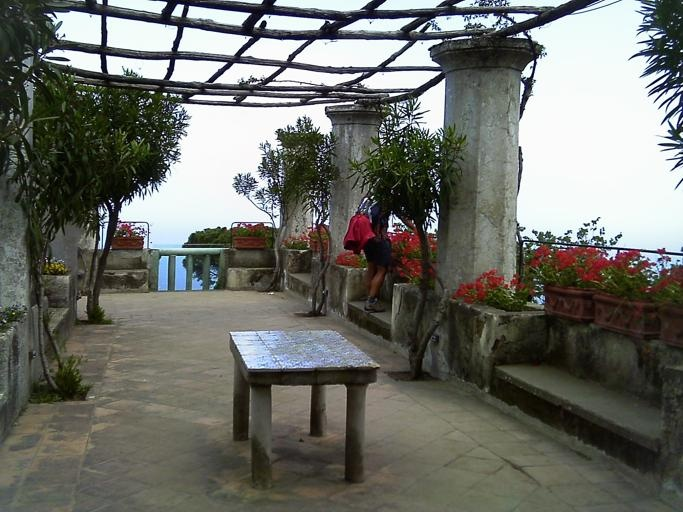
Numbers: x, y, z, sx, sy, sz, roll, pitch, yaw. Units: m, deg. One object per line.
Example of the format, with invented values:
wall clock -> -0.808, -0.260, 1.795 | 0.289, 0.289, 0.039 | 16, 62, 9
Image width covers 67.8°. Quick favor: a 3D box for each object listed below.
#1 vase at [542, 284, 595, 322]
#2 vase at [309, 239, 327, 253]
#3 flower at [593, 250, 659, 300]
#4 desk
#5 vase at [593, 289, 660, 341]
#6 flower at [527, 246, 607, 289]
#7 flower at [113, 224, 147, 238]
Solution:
vase -> 2.104, 0.427, 4.732 | 0.150, 0.309, 0.586 | 0, 4, -20
vase -> -0.482, -0.232, 11.219 | 0.382, 0.246, 0.269 | 1, -6, 1
flower -> 2.320, 0.172, 4.126 | 0.395, 0.290, 0.378 | 2, 3, 19
desk -> -0.375, 1.147, 4.037 | 0.890, 0.837, 1.398 | 3, -2, -14
vase -> 2.236, 0.510, 4.245 | 0.533, 0.269, 0.327 | 11, -14, -7
flower -> 2.135, 0.113, 4.830 | 0.414, 0.297, 0.466 | 1, 1, 38
flower -> -5.154, -0.607, 12.438 | 0.647, 0.276, 0.323 | 0, 4, -27
